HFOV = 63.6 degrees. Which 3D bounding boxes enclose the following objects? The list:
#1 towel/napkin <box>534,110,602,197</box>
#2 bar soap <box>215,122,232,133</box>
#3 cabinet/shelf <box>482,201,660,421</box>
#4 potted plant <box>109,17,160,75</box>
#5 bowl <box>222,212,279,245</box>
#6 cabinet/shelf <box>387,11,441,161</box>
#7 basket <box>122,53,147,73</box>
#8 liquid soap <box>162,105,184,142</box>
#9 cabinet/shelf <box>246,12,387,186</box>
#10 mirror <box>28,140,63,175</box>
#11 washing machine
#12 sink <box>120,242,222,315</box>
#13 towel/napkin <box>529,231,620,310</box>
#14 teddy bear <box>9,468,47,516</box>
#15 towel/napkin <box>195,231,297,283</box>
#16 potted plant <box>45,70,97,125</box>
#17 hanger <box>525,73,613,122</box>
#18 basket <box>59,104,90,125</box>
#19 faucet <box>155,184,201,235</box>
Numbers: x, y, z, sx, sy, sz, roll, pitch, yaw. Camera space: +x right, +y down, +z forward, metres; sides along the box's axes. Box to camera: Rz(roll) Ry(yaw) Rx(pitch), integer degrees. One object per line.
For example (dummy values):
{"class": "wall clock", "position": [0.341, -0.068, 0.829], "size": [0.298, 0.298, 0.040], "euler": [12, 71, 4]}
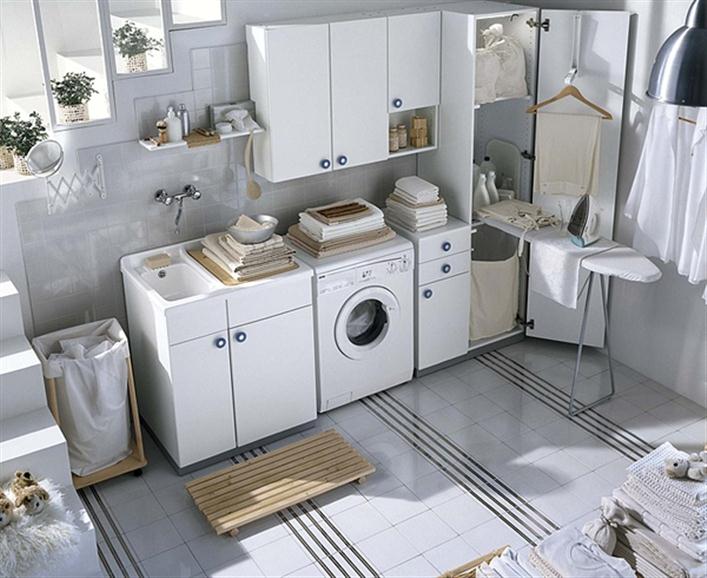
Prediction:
{"class": "towel/napkin", "position": [1.517, -0.961, 3.992], "size": [0.528, 0.662, 0.128], "euler": [14, 31, 27]}
{"class": "bar soap", "position": [-0.769, -0.956, 3.422], "size": [0.090, 0.050, 0.074], "euler": [-8, 28, -10]}
{"class": "cabinet/shelf", "position": [1.564, 0.164, 4.030], "size": [0.346, 0.783, 1.251], "euler": [-11, 31, -20]}
{"class": "potted plant", "position": [-1.219, -1.361, 3.288], "size": [0.236, 0.247, 0.166], "euler": [-3, 11, 1]}
{"class": "bowl", "position": [-0.596, -0.395, 3.531], "size": [0.308, 0.124, 0.358], "euler": [9, 31, 22]}
{"class": "cabinet/shelf", "position": [0.386, -1.421, 3.890], "size": [0.390, 0.881, 0.282], "euler": [-7, 23, -4]}
{"class": "basket", "position": [-1.241, -1.281, 3.256], "size": [0.106, 0.087, 0.113], "euler": [-20, 29, -36]}
{"class": "liquid soap", "position": [-1.042, -0.964, 3.343], "size": [0.099, 0.169, 0.244], "euler": [-10, 29, -14]}
{"class": "cabinet/shelf", "position": [-0.242, -1.212, 3.525], "size": [0.848, 0.942, 0.355], "euler": [-17, 31, -28]}
{"class": "mirror", "position": [-1.623, -0.710, 3.061], "size": [0.120, 0.156, 0.211], "euler": [12, 31, 26]}
{"class": "washing machine", "position": [-0.055, 0.192, 3.739], "size": [0.779, 1.158, 0.627], "euler": [-15, 29, -29]}
{"class": "sink", "position": [-1.125, -0.060, 3.490], "size": [0.388, 0.341, 0.519], "euler": [-20, 40, -26]}
{"class": "towel/napkin", "position": [1.478, -0.169, 3.866], "size": [0.482, 0.392, 0.494], "euler": [-15, 30, -27]}
{"class": "teddy bear", "position": [-1.472, 0.913, 2.567], "size": [0.212, 0.099, 0.138], "euler": [13, 32, 28]}
{"class": "towel/napkin", "position": [-0.590, -0.196, 3.466], "size": [0.377, 0.120, 0.385], "euler": [-15, 30, -29]}
{"class": "potted plant", "position": [-1.534, -1.076, 3.275], "size": [0.306, 0.314, 0.216], "euler": [-18, 37, -30]}
{"class": "hanger", "position": [1.495, -1.323, 3.915], "size": [0.559, 0.318, 0.188], "euler": [8, 29, 21]}
{"class": "basket", "position": [-1.535, -0.967, 3.177], "size": [0.113, 0.076, 0.116], "euler": [-4, 16, -14]}
{"class": "faucet", "position": [-1.116, -0.513, 3.624], "size": [0.240, 0.261, 0.093], "euler": [-18, 31, -34]}
